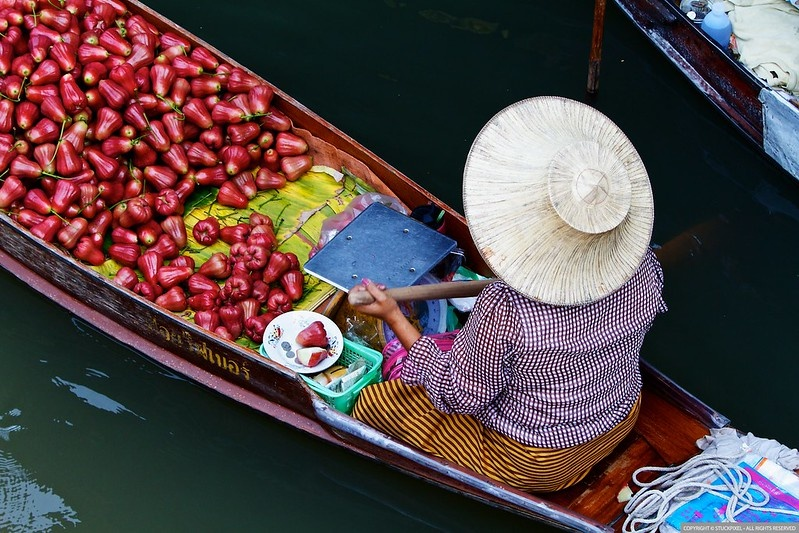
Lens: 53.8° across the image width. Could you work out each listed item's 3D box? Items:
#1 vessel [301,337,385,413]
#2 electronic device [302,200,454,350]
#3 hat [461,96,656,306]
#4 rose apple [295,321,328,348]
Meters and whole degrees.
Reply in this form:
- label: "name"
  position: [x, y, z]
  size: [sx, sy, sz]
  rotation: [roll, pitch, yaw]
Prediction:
- label: "vessel"
  position: [-0.393, 0.828, 5.777]
  size: [0.455, 0.247, 0.586]
  rotation: [33, 69, 27]
- label: "electronic device"
  position: [-0.073, 0.044, 6.204]
  size: [0.889, 0.216, 0.946]
  rotation: [35, 67, 13]
- label: "hat"
  position: [0.950, -0.427, 4.625]
  size: [1.106, 0.448, 1.219]
  rotation: [-19, 70, -12]
- label: "rose apple"
  position: [-0.664, 0.496, 5.922]
  size: [0.252, 0.173, 0.202]
  rotation: [-13, 72, 4]
